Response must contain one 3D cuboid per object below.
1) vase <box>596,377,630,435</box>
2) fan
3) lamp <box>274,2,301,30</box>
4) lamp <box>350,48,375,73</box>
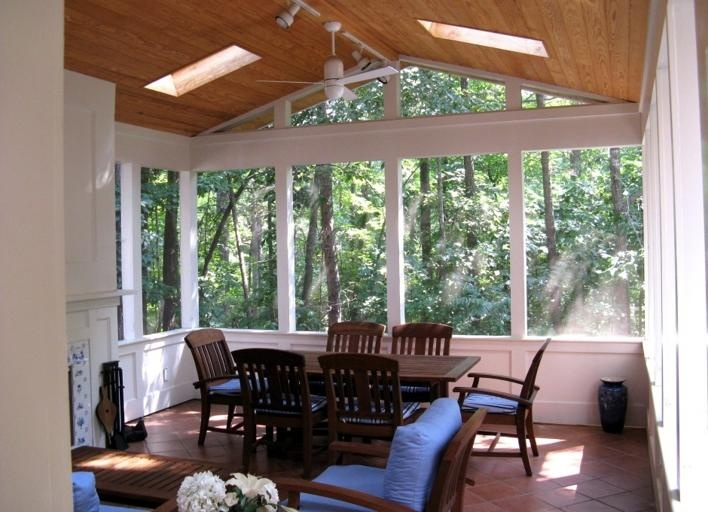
[{"bbox_3d":[2.517,1.459,5.140,0.241,0.533,0.172,-1,1,8],"label":"vase"},{"bbox_3d":[-0.065,-1.764,4.893,1.173,0.657,1.235,2,8,16],"label":"fan"},{"bbox_3d":[-0.566,-2.058,4.559,0.130,0.282,0.112,28,-16,11],"label":"lamp"},{"bbox_3d":[0.099,-2.196,5.943,0.164,0.076,0.200,14,-8,0],"label":"lamp"}]
